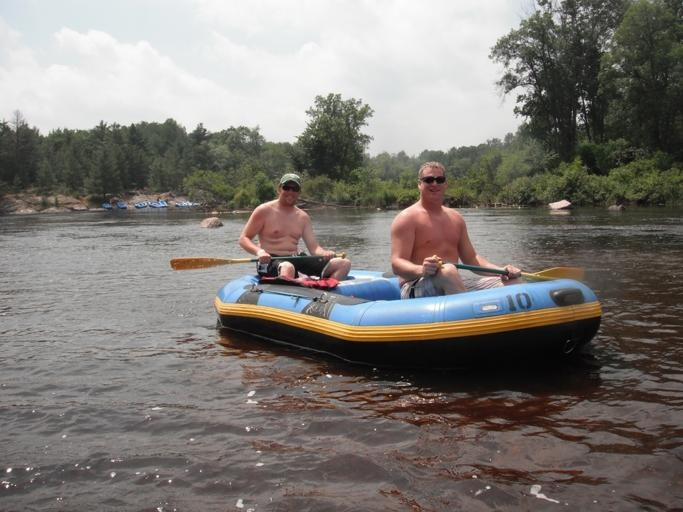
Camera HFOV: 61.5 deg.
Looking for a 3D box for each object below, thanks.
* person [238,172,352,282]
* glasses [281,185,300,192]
[{"bbox_3d":[-0.662,-0.206,7.804,1.366,1.460,1.099,13,12,34],"label":"person"},{"bbox_3d":[-0.685,-0.908,7.732,0.229,0.115,0.059,-1,4,-5],"label":"glasses"}]
